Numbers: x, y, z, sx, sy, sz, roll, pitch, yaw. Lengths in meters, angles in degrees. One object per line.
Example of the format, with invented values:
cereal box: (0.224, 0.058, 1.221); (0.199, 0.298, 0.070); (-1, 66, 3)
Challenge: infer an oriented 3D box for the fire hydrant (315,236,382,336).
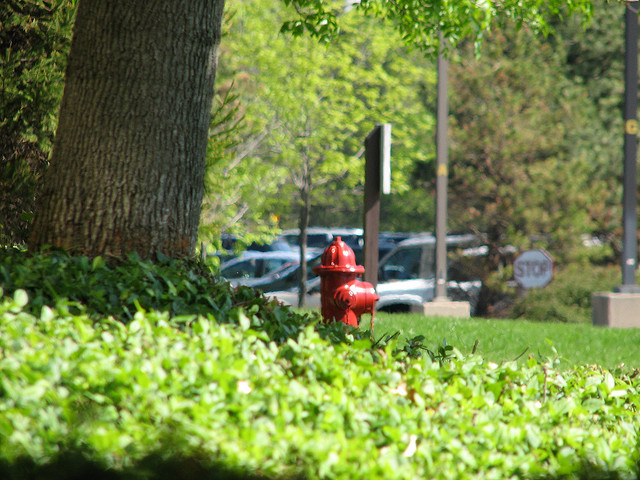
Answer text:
fire hydrant: (0.364, 0.938, 20.538); (0.917, 2.046, 0.899); (-1, 1, -12)

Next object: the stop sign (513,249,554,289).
stop sign: (4.338, 0.574, 29.195); (0.841, 0.928, 0.079); (2, 23, 13)
